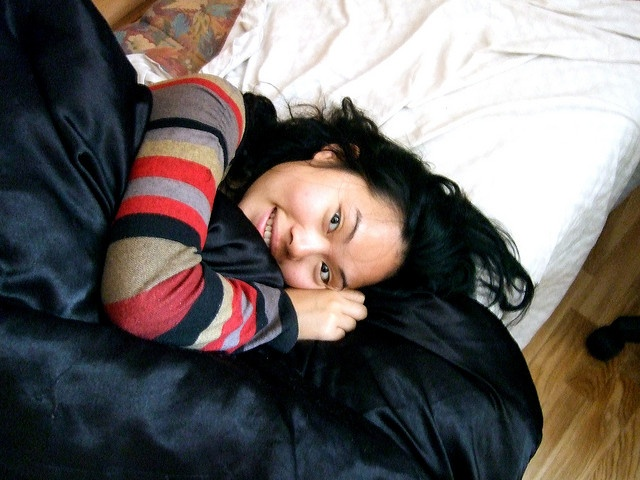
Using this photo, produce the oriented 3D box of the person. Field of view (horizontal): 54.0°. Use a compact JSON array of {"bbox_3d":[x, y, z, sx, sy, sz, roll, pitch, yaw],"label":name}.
[{"bbox_3d":[-0.045,0.024,1.396,0.788,0.536,0.327,6,-23,-28],"label":"person"}]
